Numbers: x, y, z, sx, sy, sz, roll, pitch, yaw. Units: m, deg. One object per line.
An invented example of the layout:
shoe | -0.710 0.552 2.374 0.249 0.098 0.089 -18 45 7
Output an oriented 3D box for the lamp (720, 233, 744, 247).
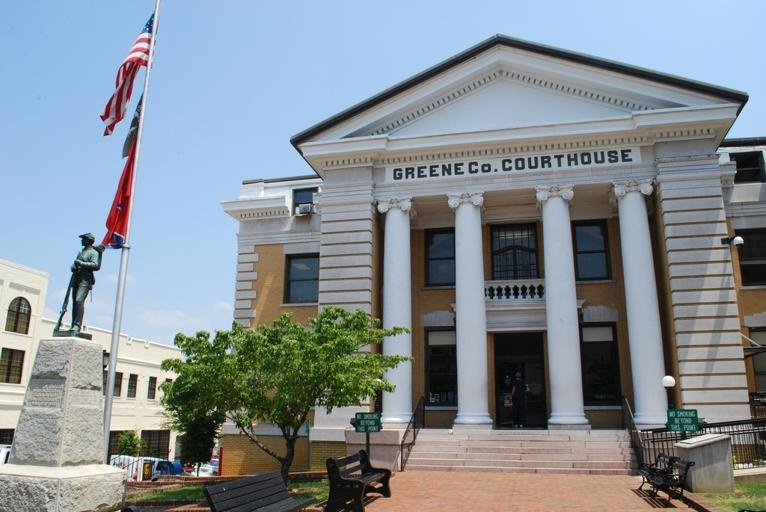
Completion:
lamp | 13.863 -0.653 23.334 0.889 0.371 0.698 1 -4 39

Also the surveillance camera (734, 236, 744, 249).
surveillance camera | 14.309 -0.584 23.601 0.353 0.475 0.161 8 -10 27

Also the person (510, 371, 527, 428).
person | 5.636 5.945 24.258 0.631 2.282 1.000 -4 -6 13

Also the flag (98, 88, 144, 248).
flag | -8.581 -2.934 19.553 1.317 5.422 0.840 2 -8 -43
